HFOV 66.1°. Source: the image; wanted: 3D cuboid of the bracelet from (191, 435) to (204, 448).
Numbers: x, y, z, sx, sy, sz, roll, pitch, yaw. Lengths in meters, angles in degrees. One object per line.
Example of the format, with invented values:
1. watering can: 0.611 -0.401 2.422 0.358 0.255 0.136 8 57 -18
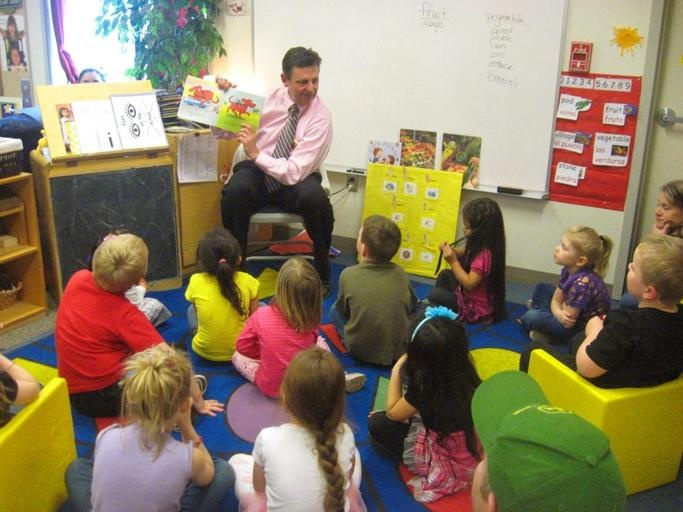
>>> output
1. bracelet: -0.518 0.672 1.883 0.045 0.026 0.062 1 4 -1

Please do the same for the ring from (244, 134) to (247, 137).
1. ring: -0.612 -0.767 3.343 0.016 0.017 0.005 -2 -5 -14

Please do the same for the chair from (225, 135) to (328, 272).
1. chair: -0.387 -0.345 3.717 0.689 0.885 0.674 2 -3 -2

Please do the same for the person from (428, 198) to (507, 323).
1. person: 0.760 0.092 3.237 0.456 0.907 0.398 1 13 -4

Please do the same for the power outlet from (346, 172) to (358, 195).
1. power outlet: 0.085 -0.580 4.137 0.116 0.220 0.020 14 32 24

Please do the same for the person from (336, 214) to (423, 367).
1. person: 0.195 0.152 2.899 0.516 0.775 0.547 -2 15 -6

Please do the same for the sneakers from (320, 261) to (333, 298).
1. sneakers: -0.090 0.164 3.489 0.070 0.099 0.228 2 43 3
